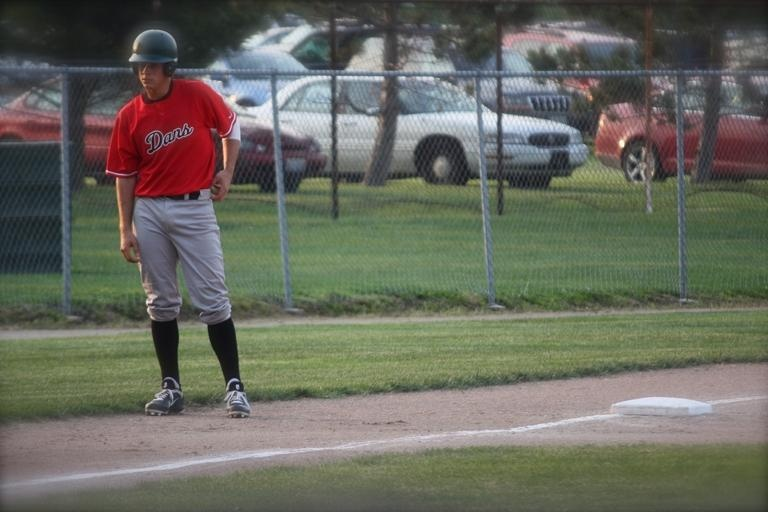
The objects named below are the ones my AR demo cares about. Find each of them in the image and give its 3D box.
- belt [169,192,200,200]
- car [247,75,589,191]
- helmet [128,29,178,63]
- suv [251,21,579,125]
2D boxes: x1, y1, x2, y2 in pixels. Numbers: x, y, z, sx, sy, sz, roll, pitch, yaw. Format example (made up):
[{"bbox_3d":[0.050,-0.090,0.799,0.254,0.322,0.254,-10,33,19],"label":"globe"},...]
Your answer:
[{"bbox_3d":[-1.876,-0.562,15.919,0.286,0.081,0.020,-4,6,-11],"label":"belt"},{"bbox_3d":[0.466,-1.475,20.196,3.886,1.072,1.539,1,10,4],"label":"car"},{"bbox_3d":[-2.174,-1.985,16.004,0.462,0.292,0.610,8,12,8],"label":"helmet"},{"bbox_3d":[0.509,-2.147,20.608,3.518,1.099,1.461,2,10,6],"label":"suv"}]
